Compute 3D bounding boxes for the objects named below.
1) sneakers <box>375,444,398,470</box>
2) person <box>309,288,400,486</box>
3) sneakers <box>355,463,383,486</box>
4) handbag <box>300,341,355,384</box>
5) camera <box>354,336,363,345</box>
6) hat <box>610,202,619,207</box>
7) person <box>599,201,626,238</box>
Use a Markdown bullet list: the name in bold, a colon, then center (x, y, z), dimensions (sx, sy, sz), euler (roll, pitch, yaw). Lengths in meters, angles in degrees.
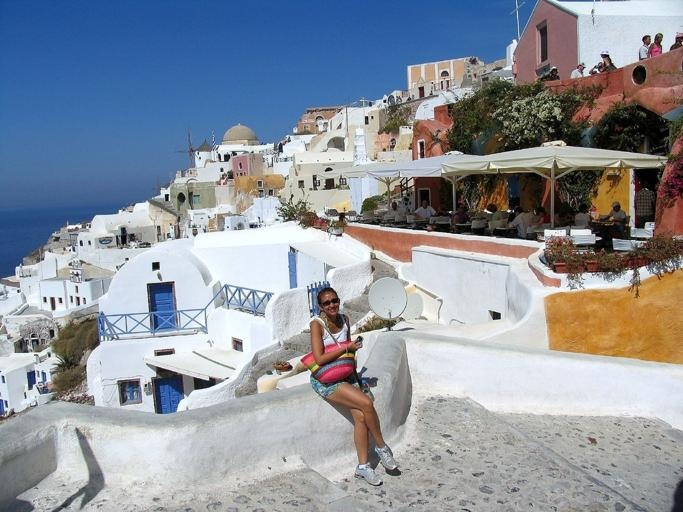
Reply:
- **sneakers**: center (0.521, 2.317, 6.661), dimensions (0.139, 0.164, 0.376), euler (-25, 50, -8)
- **person**: center (0.123, 1.461, 6.701), dimensions (0.921, 2.129, 0.515), euler (1, 8, 30)
- **sneakers**: center (0.297, 2.442, 6.589), dimensions (0.331, 0.163, 0.144), euler (9, 11, 40)
- **handbag**: center (-0.149, 1.213, 6.750), dimensions (0.430, 0.223, 0.500), euler (-13, 34, -14)
- **camera**: center (0.206, 0.982, 6.710), dimensions (0.104, 0.108, 0.081), euler (11, 10, 0)
- **hat**: center (6.484, -1.218, 13.757), dimensions (0.191, 0.067, 0.193), euler (5, 18, 43)
- **person**: center (6.358, -0.732, 13.526), dimensions (0.485, 1.120, 0.599), euler (-6, 2, 25)
